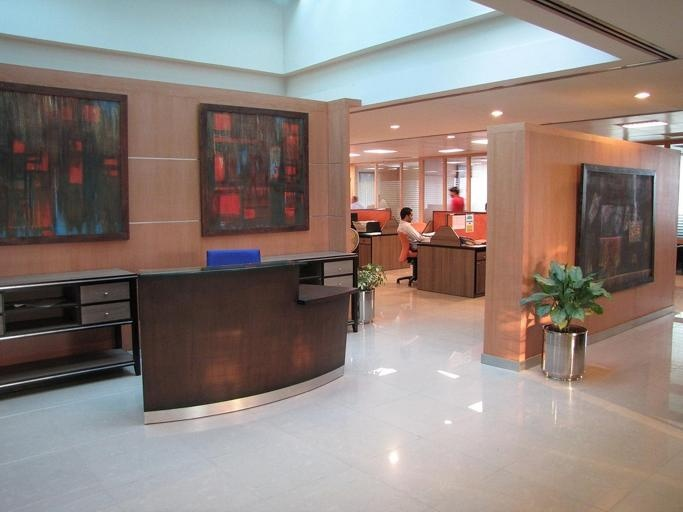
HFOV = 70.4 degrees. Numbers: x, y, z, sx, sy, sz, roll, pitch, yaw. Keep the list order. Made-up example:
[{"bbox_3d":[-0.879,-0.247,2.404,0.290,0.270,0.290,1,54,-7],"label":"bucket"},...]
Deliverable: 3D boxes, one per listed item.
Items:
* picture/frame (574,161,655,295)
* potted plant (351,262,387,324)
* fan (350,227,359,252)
[{"bbox_3d":[3.607,-0.394,6.454,0.084,1.355,2.016,4,5,43],"label":"picture/frame"},{"bbox_3d":[0.444,0.621,7.786,0.589,0.849,0.585,4,-8,-3],"label":"potted plant"},{"bbox_3d":[0.283,-0.256,8.621,0.091,0.369,0.385,-1,23,-9],"label":"fan"}]
